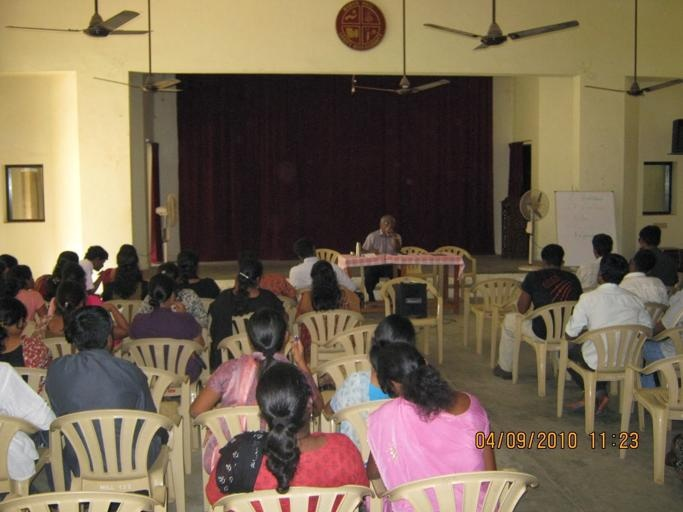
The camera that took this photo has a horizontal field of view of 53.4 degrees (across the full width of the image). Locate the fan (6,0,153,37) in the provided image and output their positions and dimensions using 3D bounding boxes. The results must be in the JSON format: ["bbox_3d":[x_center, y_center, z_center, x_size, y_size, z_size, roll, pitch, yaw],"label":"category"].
[{"bbox_3d":[-3.398,-2.986,8.499,0.887,0.362,0.966,8,25,10],"label":"fan"}]

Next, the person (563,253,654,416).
[{"bbox_3d":[2.114,0.649,5.469,0.568,1.410,0.686,-8,11,-38],"label":"person"}]

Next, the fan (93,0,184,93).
[{"bbox_3d":[-2.661,-2.762,8.789,0.965,1.289,1.202,9,8,12],"label":"fan"}]

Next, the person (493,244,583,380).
[{"bbox_3d":[1.901,0.512,6.323,0.632,1.342,0.738,-1,6,-22],"label":"person"}]

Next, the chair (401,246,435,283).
[{"bbox_3d":[1.077,0.130,9.731,0.466,0.810,0.544,0,2,-1],"label":"chair"}]

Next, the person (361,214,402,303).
[{"bbox_3d":[0.591,0.057,9.545,0.492,1.271,0.617,-1,3,4],"label":"person"}]

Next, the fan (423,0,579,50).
[{"bbox_3d":[2.064,-3.168,9.204,1.133,0.524,0.786,4,11,7],"label":"fan"}]

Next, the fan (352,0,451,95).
[{"bbox_3d":[0.848,-2.998,9.570,1.041,1.314,1.091,-3,29,-5],"label":"fan"}]

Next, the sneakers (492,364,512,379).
[{"bbox_3d":[1.531,1.092,6.469,0.070,0.083,0.177,-5,15,-23],"label":"sneakers"}]

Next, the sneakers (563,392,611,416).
[{"bbox_3d":[2.012,1.171,5.537,0.431,0.194,0.139,-1,6,37],"label":"sneakers"}]
